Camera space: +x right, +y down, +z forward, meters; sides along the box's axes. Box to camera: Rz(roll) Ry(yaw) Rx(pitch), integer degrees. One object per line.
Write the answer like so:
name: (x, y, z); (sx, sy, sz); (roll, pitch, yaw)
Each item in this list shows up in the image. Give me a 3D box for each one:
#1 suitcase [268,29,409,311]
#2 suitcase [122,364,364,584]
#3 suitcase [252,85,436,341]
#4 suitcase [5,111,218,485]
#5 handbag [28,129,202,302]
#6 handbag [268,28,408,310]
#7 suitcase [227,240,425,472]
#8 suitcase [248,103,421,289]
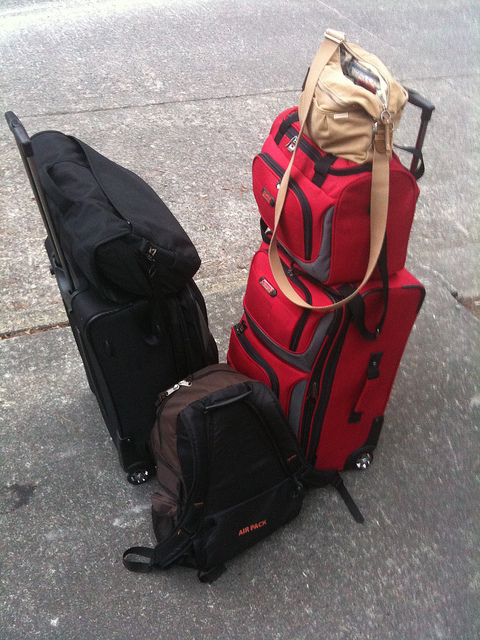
suitcase: (0.239, -0.365, 1.470); (0.294, 0.620, 0.484); (9, 38, 11)
suitcase: (-0.071, 0.395, 1.650); (0.528, 0.537, 0.382); (-23, 44, -28)
suitcase: (0.259, -0.372, 1.562); (0.376, 0.525, 0.646); (-12, 41, -14)
suitcase: (-0.337, -0.071, 1.746); (0.462, 1.124, 0.518); (-15, 40, -20)
handbag: (-0.355, -0.281, 1.635); (0.344, 0.322, 0.581); (-16, 41, -21)
handbag: (0.202, -0.417, 1.498); (0.291, 0.595, 0.589); (-11, 44, -15)
suitcase: (0.195, 0.088, 1.823); (0.393, 0.712, 0.519); (-16, 41, -21)
suitcase: (0.237, -0.365, 1.558); (0.365, 0.330, 0.468); (-18, 45, -11)
